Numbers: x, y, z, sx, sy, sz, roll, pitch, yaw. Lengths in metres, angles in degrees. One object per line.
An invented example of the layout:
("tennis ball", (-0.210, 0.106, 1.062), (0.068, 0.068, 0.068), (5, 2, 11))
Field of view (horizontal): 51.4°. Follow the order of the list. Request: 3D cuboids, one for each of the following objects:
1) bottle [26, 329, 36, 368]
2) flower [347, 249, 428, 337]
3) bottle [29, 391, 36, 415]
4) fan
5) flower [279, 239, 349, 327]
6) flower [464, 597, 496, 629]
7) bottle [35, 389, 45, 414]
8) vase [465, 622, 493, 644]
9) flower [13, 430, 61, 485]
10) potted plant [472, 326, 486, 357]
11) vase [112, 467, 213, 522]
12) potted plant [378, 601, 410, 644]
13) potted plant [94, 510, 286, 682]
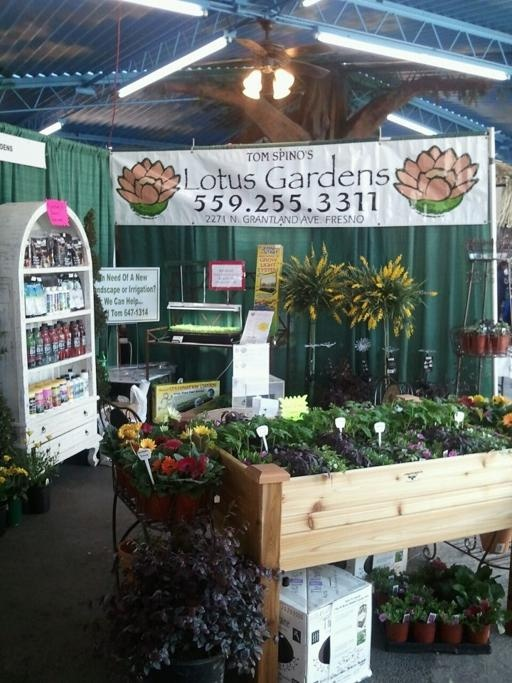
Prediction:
("bottle", (-1.560, 0.053, 3.664), (0.049, 0.261, 0.100), (0, 3, -4))
("flower", (1.139, -0.418, 4.864), (0.712, 0.612, 0.719), (-2, -5, 42))
("bottle", (-1.546, 0.435, 3.680), (0.027, 0.140, 0.102), (1, 3, 7))
("fan", (0.123, -2.776, 5.038), (0.957, 0.428, 1.024), (4, 10, 24))
("flower", (0.525, -0.595, 4.984), (0.439, 0.451, 0.423), (-33, 46, -29))
("flower", (0.916, 1.116, 2.171), (0.114, 0.066, 0.109), (0, -2, -30))
("bottle", (-1.529, 0.429, 3.742), (0.030, 0.156, 0.088), (1, 3, 5))
("vase", (0.906, 1.197, 2.164), (0.095, 0.071, 0.095), (0, -10, -2))
("flower", (-1.492, 0.818, 3.543), (0.218, 0.300, 0.227), (8, -16, -29))
("potted plant", (1.696, 0.010, 4.027), (0.106, 0.220, 0.079), (-2, 4, -40))
("vase", (-0.344, 0.635, 2.081), (0.336, 0.125, 0.265), (-10, -15, 36))
("potted plant", (0.566, 1.154, 2.172), (0.119, 0.159, 0.103), (2, 4, 17))
("potted plant", (-0.194, 0.877, 1.628), (0.502, 0.538, 0.393), (-1, 4, -22))
